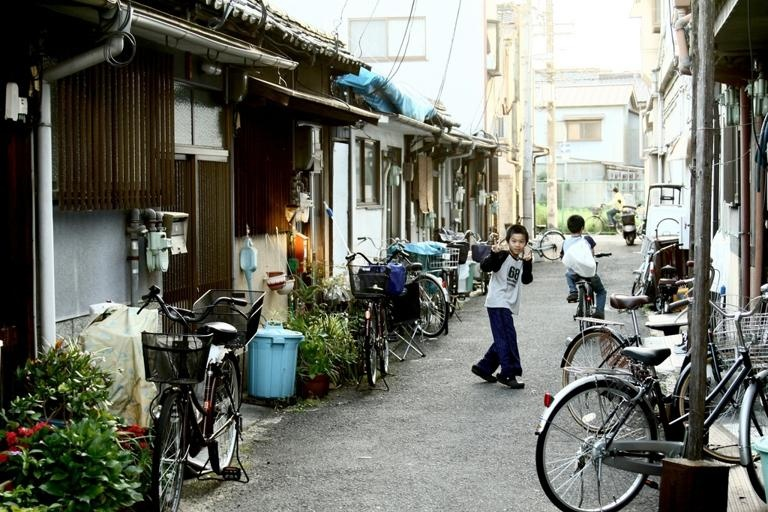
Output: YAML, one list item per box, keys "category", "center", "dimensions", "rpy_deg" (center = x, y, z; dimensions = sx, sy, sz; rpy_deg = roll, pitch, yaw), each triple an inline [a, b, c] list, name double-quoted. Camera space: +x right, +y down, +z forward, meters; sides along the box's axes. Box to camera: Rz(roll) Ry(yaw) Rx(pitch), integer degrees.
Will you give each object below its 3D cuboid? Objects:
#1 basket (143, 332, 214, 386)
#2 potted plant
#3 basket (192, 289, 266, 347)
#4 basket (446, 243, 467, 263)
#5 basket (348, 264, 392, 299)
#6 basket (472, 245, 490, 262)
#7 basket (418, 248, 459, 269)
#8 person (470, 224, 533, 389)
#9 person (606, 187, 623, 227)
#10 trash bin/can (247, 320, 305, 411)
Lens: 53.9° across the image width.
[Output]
- category: "basket"
  center: [-1.879, 0.822, 6.806]
  dimensions: [0.654, 0.486, 0.563]
  rpy_deg: [3, 14, -17]
- category: "potted plant"
  center: [-0.894, 1.267, 10.447]
  dimensions: [0.841, 0.990, 0.910]
  rpy_deg: [0, -5, 7]
- category: "basket"
  center: [-1.684, 0.600, 8.377]
  dimensions: [0.695, 0.510, 0.761]
  rpy_deg: [3, 0, 7]
- category: "basket"
  center: [1.737, -0.076, 17.582]
  dimensions: [0.499, 0.561, 0.326]
  rpy_deg: [-6, 8, -32]
- category: "basket"
  center: [-0.287, 0.414, 11.396]
  dimensions: [0.669, 0.554, 0.689]
  rpy_deg: [3, -3, -35]
- category: "basket"
  center: [2.203, -0.092, 17.113]
  dimensions: [0.398, 0.363, 0.372]
  rpy_deg: [1, -8, -1]
- category: "basket"
  center: [1.114, 0.088, 15.948]
  dimensions: [0.436, 0.313, 0.773]
  rpy_deg: [-3, -2, -7]
- category: "person"
  center: [1.661, 0.686, 10.483]
  dimensions: [0.804, 2.237, 0.783]
  rpy_deg: [-1, 2, 18]
- category: "person"
  center: [11.318, -2.394, 37.062]
  dimensions: [1.091, 1.920, 1.194]
  rpy_deg: [3, 4, 16]
- category: "trash bin/can"
  center: [-1.300, 1.398, 9.670]
  dimensions: [0.790, 0.989, 0.862]
  rpy_deg: [2, -4, 3]
